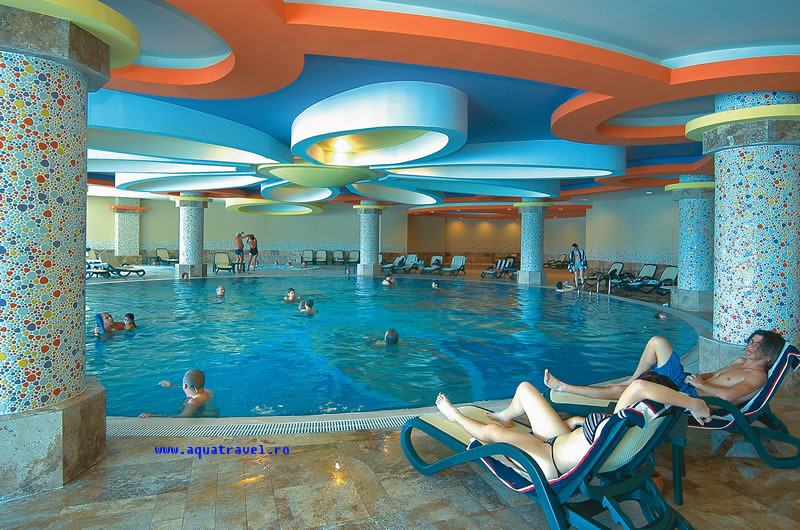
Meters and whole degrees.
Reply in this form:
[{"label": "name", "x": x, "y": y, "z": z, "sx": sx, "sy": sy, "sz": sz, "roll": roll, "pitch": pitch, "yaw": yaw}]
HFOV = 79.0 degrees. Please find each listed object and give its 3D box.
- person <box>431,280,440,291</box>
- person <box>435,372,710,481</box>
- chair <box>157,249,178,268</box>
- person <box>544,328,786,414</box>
[{"label": "person", "x": 1.482, "y": 0.853, "z": 20.329, "sx": 0.438, "sy": 0.329, "sz": 0.723, "roll": -3, "pitch": -3, "yaw": -1}, {"label": "person", "x": 1.109, "y": 1.370, "z": 4.187, "sx": 1.918, "sy": 0.494, "sz": 0.680, "roll": 5, "pitch": 3, "yaw": 24}, {"label": "chair", "x": -14.141, "y": -0.507, "z": 29.546, "sx": 1.104, "sy": 1.039, "sz": 2.032, "roll": -1, "pitch": 3, "yaw": -25}, {"label": "person", "x": 3.093, "y": 1.234, "z": 5.587, "sx": 2.648, "sy": 0.553, "sz": 1.162, "roll": -5, "pitch": -2, "yaw": 24}]
